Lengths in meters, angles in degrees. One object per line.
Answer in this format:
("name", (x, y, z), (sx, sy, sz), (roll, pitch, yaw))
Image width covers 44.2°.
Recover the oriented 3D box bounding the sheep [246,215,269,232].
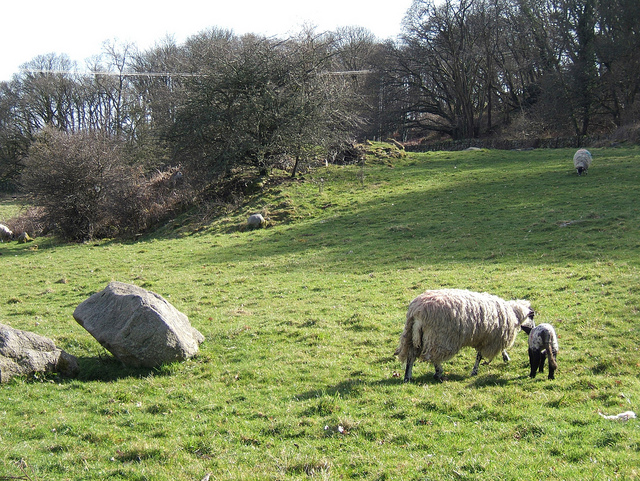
("sheep", (-4.771, -1.300, 60.077), (1.567, 0.978, 0.955), (2, 19, -10))
